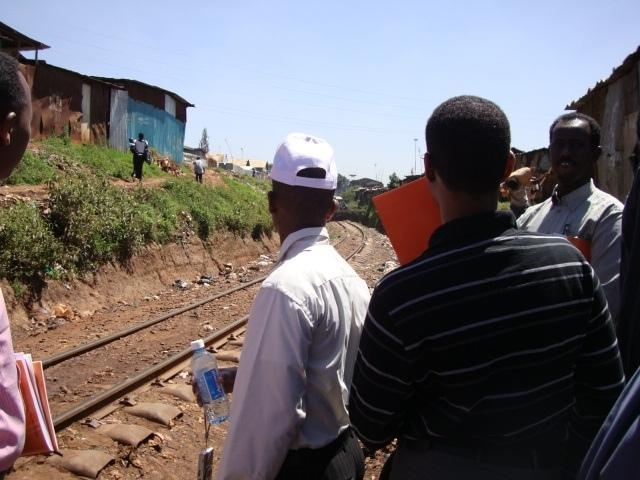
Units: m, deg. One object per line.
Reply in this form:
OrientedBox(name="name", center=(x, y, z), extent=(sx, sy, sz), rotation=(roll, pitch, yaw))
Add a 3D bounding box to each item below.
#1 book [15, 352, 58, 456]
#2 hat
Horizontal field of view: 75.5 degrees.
OrientedBox(name="book", center=(-1.359, 0.783, 2.021), extent=(0.097, 0.467, 0.393), rotation=(-12, 4, -40))
OrientedBox(name="hat", center=(-0.089, -0.399, 2.215), extent=(0.349, 0.199, 0.541), rotation=(6, 26, -9))
